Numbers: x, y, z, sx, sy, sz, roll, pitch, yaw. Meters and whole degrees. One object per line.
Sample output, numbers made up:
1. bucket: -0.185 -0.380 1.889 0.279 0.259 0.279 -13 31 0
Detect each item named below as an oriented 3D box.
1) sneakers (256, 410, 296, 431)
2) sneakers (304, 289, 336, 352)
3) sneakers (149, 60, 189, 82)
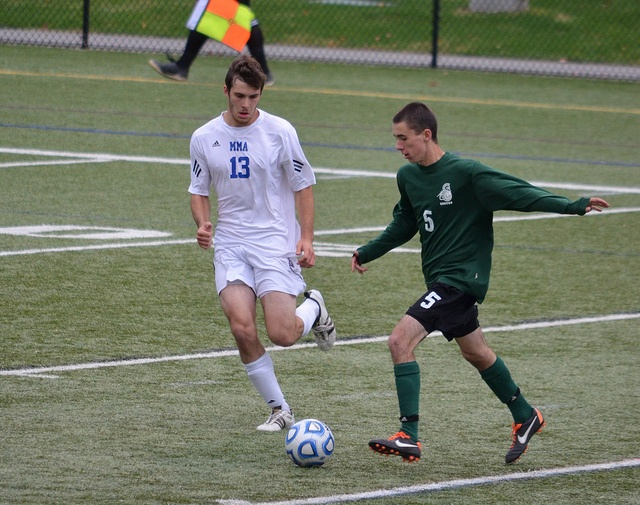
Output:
1. sneakers: -0.421 1.463 12.816 0.409 0.159 0.135 -2 8 -16
2. sneakers: 0.063 0.621 13.392 0.221 0.576 0.279 -5 24 31
3. sneakers: -2.097 -2.569 21.096 0.672 0.232 0.228 18 13 -5
